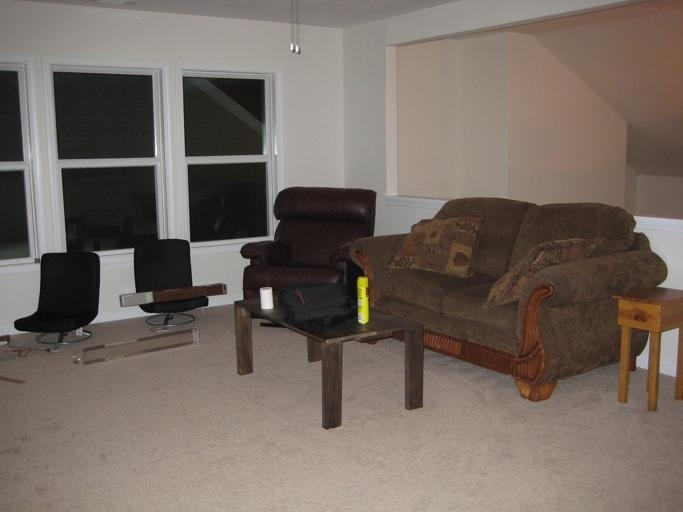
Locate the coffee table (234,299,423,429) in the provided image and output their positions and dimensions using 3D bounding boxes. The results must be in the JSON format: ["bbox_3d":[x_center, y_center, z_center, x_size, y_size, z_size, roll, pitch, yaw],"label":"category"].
[{"bbox_3d":[-0.214,0.653,3.515,1.379,0.597,0.678,3,11,34],"label":"coffee table"}]

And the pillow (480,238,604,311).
[{"bbox_3d":[1.325,0.122,3.542,0.717,0.433,0.352,1,10,21],"label":"pillow"}]

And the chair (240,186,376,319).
[{"bbox_3d":[-0.393,-0.179,5.461,1.520,1.406,1.135,1,3,23],"label":"chair"}]

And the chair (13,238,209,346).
[{"bbox_3d":[-2.099,0.313,4.854,1.505,0.797,0.678,-8,10,-31],"label":"chair"}]
